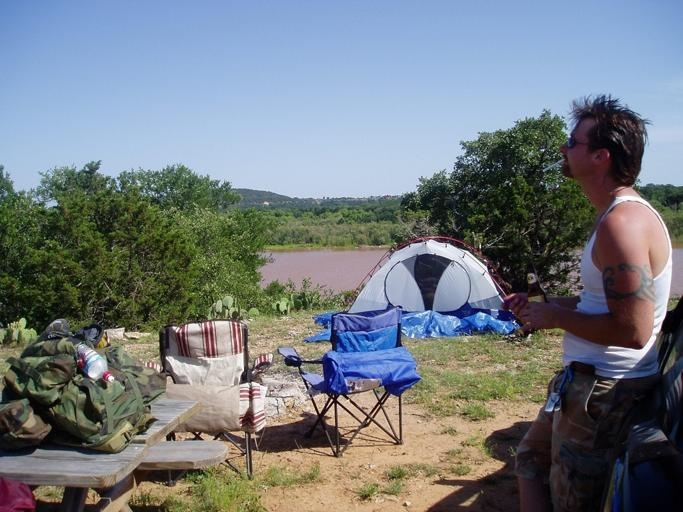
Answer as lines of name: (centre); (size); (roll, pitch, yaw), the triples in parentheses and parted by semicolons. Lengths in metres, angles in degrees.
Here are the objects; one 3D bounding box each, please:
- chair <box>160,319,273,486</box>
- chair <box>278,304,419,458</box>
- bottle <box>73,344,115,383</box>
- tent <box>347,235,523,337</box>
chair: (-1.218, 1.262, 5.032); (1.132, 1.471, 1.276); (6, -14, -39)
chair: (0.115, 1.230, 5.706); (1.142, 1.311, 1.399); (-2, 4, -5)
bottle: (-1.528, 0.672, 3.379); (0.245, 0.097, 0.099); (34, -10, 36)
tent: (2.075, 0.570, 10.876); (2.182, 1.207, 2.380); (1, 5, 7)
